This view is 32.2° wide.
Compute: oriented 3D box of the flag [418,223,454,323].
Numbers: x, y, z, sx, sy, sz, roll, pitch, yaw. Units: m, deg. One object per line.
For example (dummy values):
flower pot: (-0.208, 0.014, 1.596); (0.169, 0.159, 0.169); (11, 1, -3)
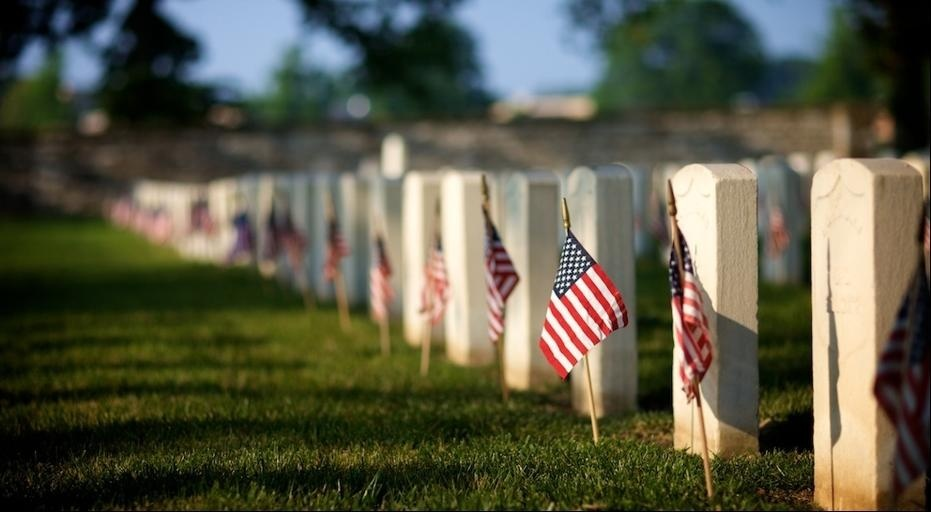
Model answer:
flag: (-0.569, 0.394, 31.034); (0.563, 1.750, 1.206); (2, 5, -1)

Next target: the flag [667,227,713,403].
flag: (3.974, 1.086, 28.525); (0.776, 2.969, 0.341); (3, 5, 9)
